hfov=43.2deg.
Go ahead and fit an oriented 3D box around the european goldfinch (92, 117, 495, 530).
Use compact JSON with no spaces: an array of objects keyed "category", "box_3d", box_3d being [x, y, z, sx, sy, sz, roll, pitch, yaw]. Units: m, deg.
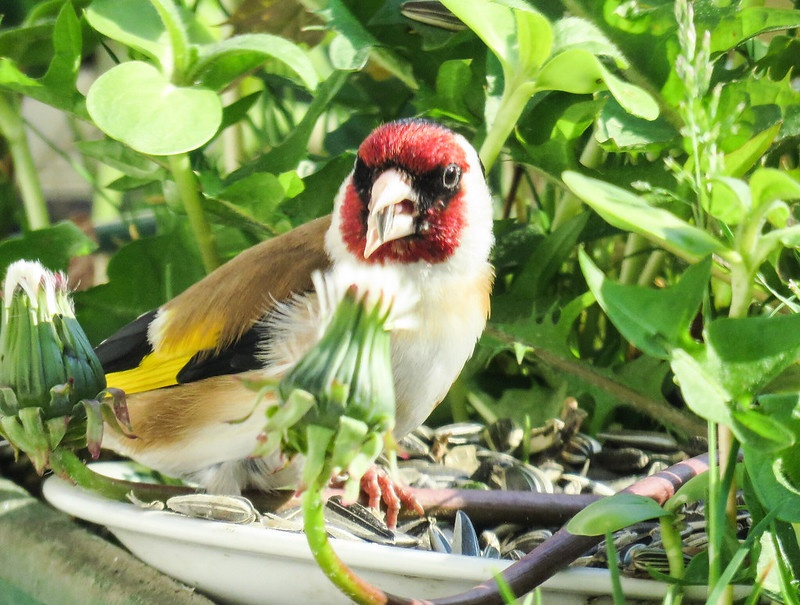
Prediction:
[{"category":"european goldfinch","box_3d":[-0.164,0.019,1.188,0.529,0.446,0.340,6,11,18]}]
